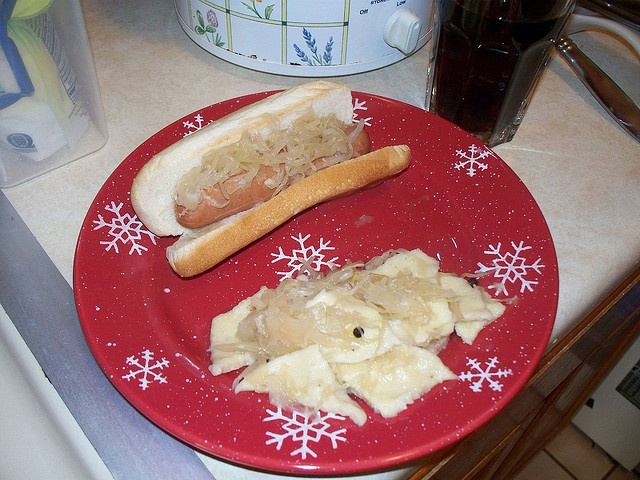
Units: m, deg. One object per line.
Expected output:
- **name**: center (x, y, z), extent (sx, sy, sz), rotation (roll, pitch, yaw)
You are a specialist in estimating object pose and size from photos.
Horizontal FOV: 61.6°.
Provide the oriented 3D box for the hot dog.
- **hot dog**: center (-0.115, -0.162, 1.497), extent (0.714, 0.185, 0.408), rotation (-33, 66, -17)
